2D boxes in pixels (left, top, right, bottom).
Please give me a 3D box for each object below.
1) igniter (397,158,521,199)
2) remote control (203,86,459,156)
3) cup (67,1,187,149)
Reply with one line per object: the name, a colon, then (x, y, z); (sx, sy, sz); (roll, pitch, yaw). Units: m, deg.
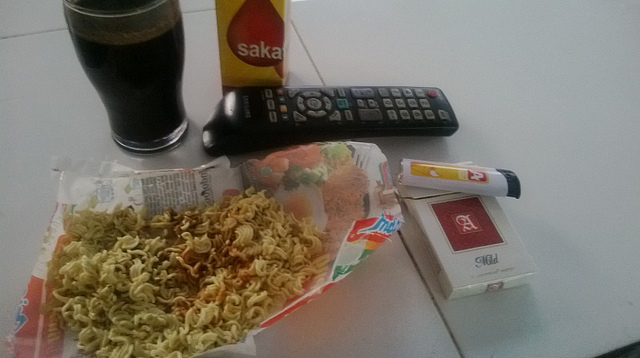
igniter: (0.299, 0.001, 0.939); (0.266, 0.045, 0.062); (5, 58, -2)
remote control: (0.024, -0.147, 0.984); (0.572, 0.074, 0.136); (-6, 59, -9)
cup: (-0.349, -0.201, 0.865); (0.187, 0.281, 0.161); (-12, 62, -12)
